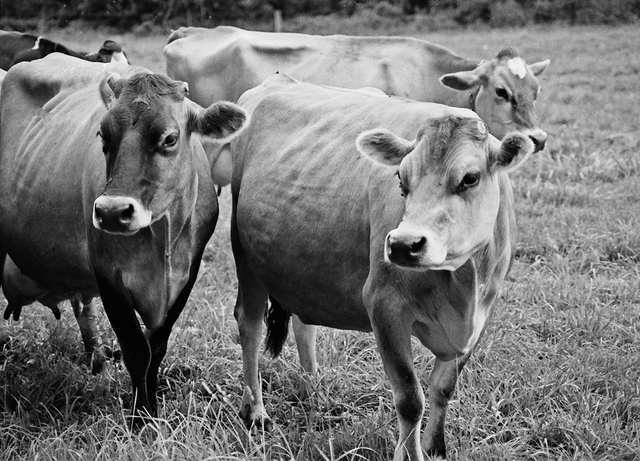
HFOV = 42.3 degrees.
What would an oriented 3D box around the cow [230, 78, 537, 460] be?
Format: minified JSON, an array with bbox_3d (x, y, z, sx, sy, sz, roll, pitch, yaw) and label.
[{"bbox_3d":[0.309,0.388,7.113,2.651,2.947,1.261,16,23,41],"label":"cow"}]

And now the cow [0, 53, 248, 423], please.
[{"bbox_3d":[-2.070,-0.143,8.080,1.686,2.976,2.792,-14,23,-39],"label":"cow"}]
